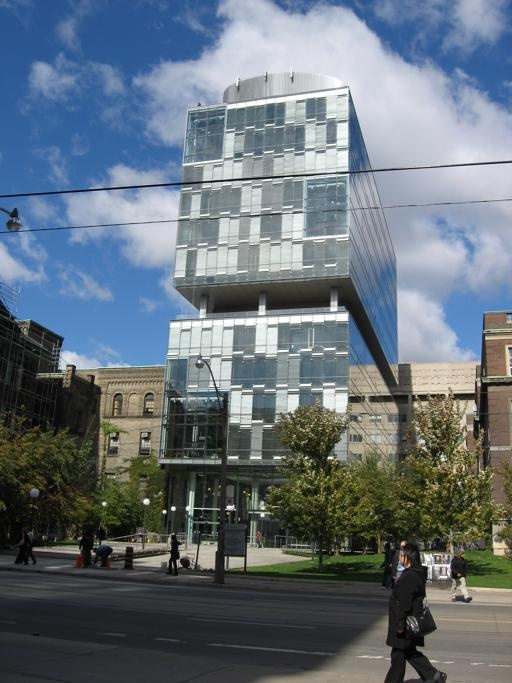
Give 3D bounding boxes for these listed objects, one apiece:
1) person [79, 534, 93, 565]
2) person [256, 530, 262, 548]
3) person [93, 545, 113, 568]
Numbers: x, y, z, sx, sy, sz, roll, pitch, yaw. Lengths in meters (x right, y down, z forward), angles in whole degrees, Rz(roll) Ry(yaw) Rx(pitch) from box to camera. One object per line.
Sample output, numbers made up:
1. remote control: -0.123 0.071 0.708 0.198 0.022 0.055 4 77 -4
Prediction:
1. person: -7.232 8.876 29.059 0.464 1.430 1.255 5 -11 -13
2. person: 0.297 16.911 58.149 0.537 1.148 0.713 3 -11 0
3. person: -6.953 9.762 31.007 0.619 1.157 3.126 4 -10 -9
